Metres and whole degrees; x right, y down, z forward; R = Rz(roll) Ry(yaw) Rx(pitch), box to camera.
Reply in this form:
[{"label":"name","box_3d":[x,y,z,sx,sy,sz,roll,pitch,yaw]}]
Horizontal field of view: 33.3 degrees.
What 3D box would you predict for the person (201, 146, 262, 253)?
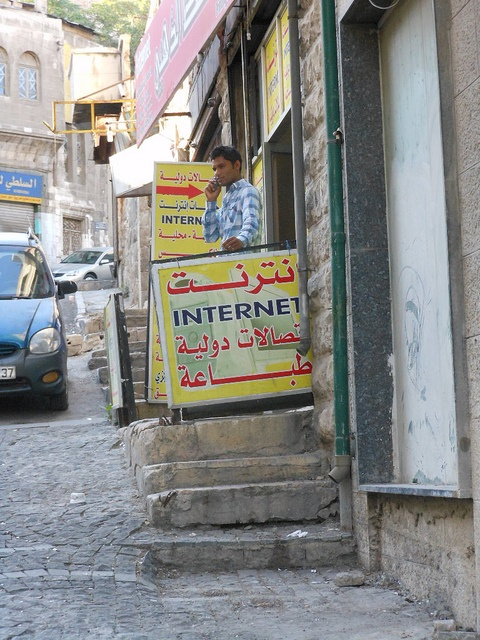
[{"label":"person","box_3d":[-0.059,-0.801,5.418,0.396,0.672,1.219,-3,-1,-2]}]
